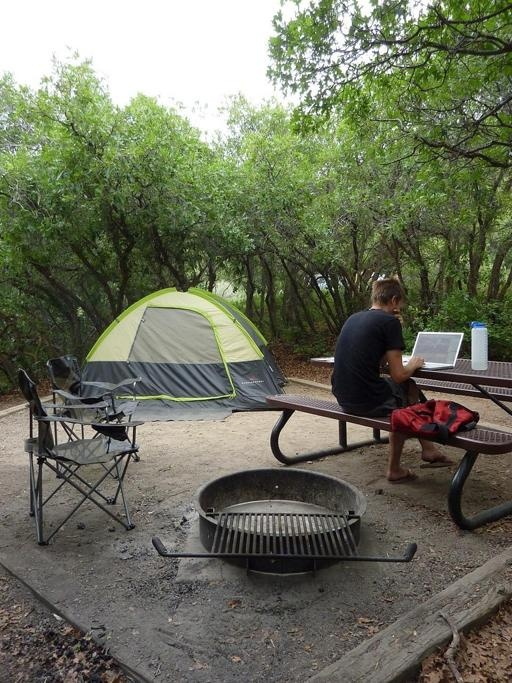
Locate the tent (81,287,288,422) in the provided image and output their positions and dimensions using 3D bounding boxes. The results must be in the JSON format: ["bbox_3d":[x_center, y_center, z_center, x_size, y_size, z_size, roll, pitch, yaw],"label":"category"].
[{"bbox_3d":[-1.318,-0.021,8.268,3.175,1.743,1.960,1,7,-17],"label":"tent"}]

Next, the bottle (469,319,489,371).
[{"bbox_3d":[1.619,0.038,3.671,0.102,0.348,0.243,-1,3,22],"label":"bottle"}]

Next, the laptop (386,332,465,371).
[{"bbox_3d":[1.445,0.073,4.147,0.606,0.300,0.662,-2,1,-33],"label":"laptop"}]

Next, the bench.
[{"bbox_3d":[1.174,0.793,3.867,1.308,0.635,2.315,-3,2,-31],"label":"bench"}]

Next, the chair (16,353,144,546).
[{"bbox_3d":[-1.140,0.772,3.547,0.977,1.302,0.879,-3,11,-32],"label":"chair"}]

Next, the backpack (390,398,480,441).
[{"bbox_3d":[1.108,0.485,3.103,0.353,0.200,0.508,-3,2,-26],"label":"backpack"}]

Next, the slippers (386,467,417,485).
[{"bbox_3d":[1.107,1.047,3.934,0.241,0.165,0.086,-8,10,-20],"label":"slippers"}]
